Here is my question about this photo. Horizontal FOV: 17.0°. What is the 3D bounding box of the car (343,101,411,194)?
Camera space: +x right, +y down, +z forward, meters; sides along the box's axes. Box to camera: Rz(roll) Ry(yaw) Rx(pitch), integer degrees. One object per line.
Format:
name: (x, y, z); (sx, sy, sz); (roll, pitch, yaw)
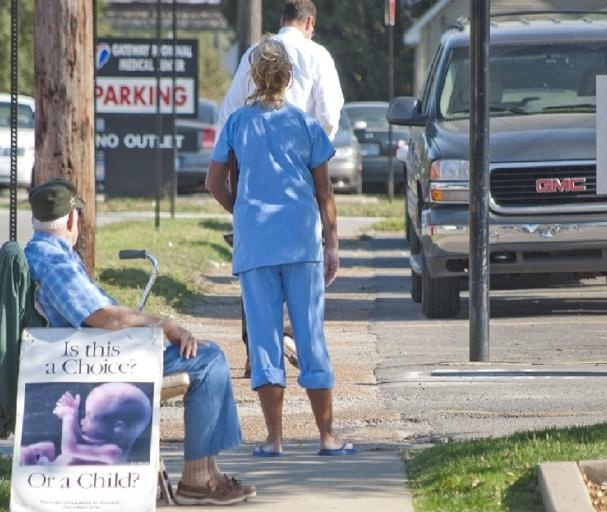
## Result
car: (1.213, -1.661, 32.219); (0.733, 0.868, 1.636); (-1, 13, -1)

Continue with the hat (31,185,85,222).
hat: (-1.595, -0.351, 13.657); (0.351, 0.209, 0.278); (-13, -6, -21)

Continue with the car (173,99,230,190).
car: (-1.464, -1.489, 29.167); (0.733, 0.823, 1.745); (0, 8, 0)

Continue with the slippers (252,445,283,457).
slippers: (-0.237, 1.425, 14.511); (0.166, 0.061, 0.088); (4, 3, 24)

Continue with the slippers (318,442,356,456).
slippers: (0.268, 1.387, 14.501); (0.187, 0.079, 0.115); (-3, 0, -6)

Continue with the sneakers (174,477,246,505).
sneakers: (-0.615, 1.575, 13.586); (0.486, 0.242, 0.196); (0, -2, -4)
